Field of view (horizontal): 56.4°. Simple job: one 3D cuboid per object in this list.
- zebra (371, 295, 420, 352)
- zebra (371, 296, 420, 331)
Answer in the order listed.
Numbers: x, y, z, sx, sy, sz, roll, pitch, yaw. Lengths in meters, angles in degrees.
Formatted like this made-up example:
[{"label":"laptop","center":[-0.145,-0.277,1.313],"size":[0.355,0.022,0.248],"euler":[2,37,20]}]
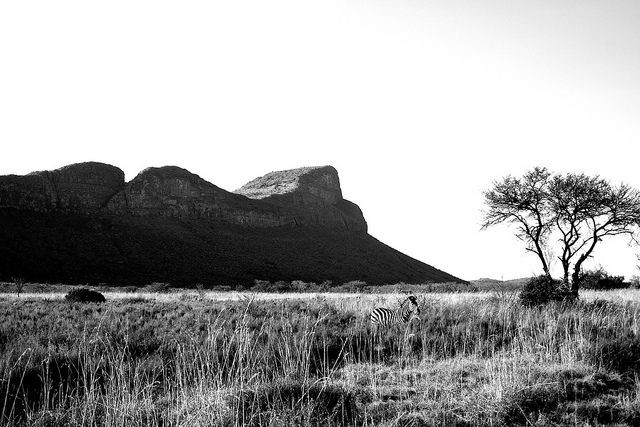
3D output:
[{"label":"zebra","center":[2.577,3.840,21.021],"size":[2.465,1.720,0.684],"euler":[-10,-2,42]},{"label":"zebra","center":[2.658,3.726,21.024],"size":[1.988,1.363,0.609],"euler":[-7,-2,32]}]
